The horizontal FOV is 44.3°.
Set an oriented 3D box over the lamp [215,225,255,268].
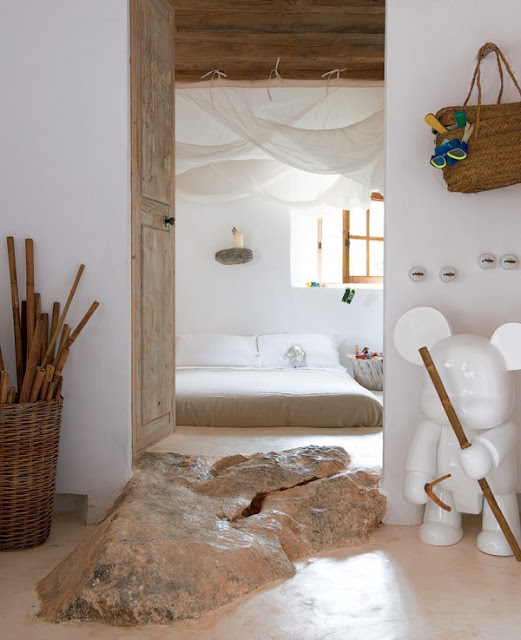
[{"bbox_3d":[-0.257,-0.719,6.322,0.452,0.388,0.205,0,-10,0],"label":"lamp"}]
